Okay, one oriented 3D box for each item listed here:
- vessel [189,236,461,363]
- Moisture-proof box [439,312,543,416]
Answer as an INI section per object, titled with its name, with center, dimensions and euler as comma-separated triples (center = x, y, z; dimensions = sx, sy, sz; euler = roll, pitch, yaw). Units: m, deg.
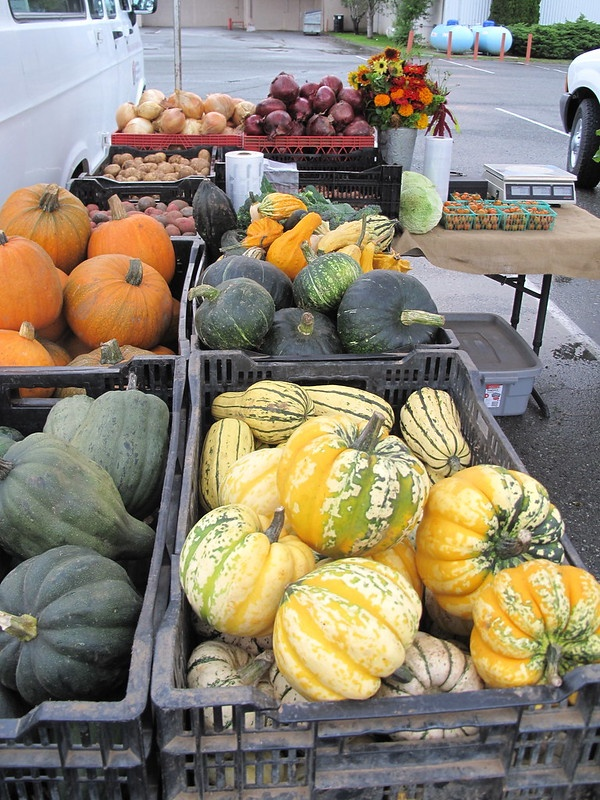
[vessel]
center = 0.072, -0.445, 2.709
dimensions = 0.987, 0.360, 0.877
euler = 26, 19, 9
[Moisture-proof box]
center = 1.344, -0.307, 4.490
dimensions = 0.717, 0.363, 1.003
euler = -2, 31, 0
